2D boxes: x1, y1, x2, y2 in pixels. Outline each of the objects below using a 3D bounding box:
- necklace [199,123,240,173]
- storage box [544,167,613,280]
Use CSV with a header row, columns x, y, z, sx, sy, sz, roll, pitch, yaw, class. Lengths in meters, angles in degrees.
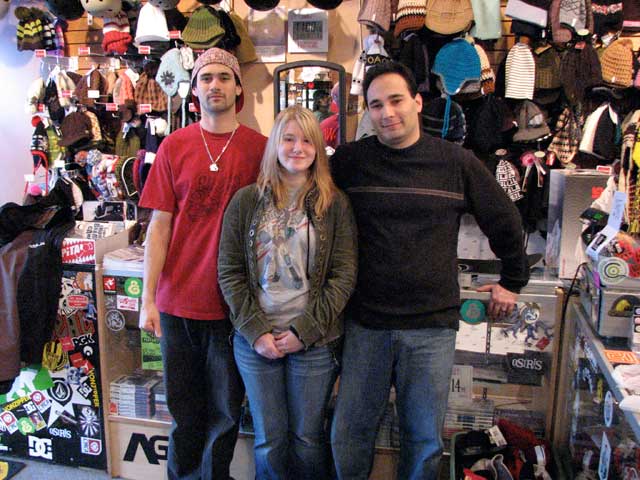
x,y,z,sx,sy,sz,roll,pitch,yaw,class
-0.506,-0.454,2.783,0.248,0.315,0.011,2,-14,3,necklace
1.395,-0.091,3.054,0.274,0.604,0.434,-1,4,-14,storage box
